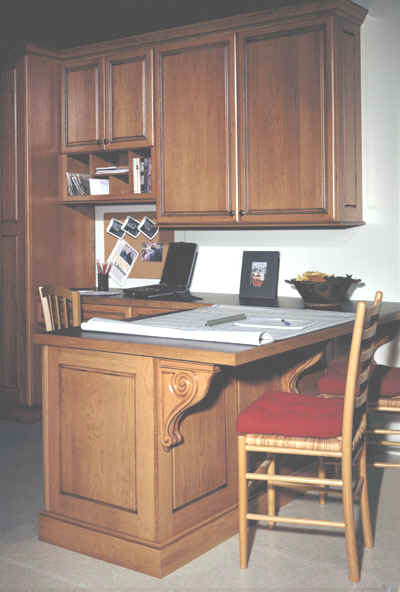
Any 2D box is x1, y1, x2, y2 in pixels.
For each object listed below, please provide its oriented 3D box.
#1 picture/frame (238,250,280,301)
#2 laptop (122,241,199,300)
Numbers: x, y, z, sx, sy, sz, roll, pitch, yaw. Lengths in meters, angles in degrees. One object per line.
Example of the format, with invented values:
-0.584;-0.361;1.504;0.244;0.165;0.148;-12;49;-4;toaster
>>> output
0.380;-0.119;3.109;0.276;0.411;0.045;-1;-13;31;picture/frame
-0.197;-0.146;3.267;0.367;0.410;0.424;5;5;44;laptop
